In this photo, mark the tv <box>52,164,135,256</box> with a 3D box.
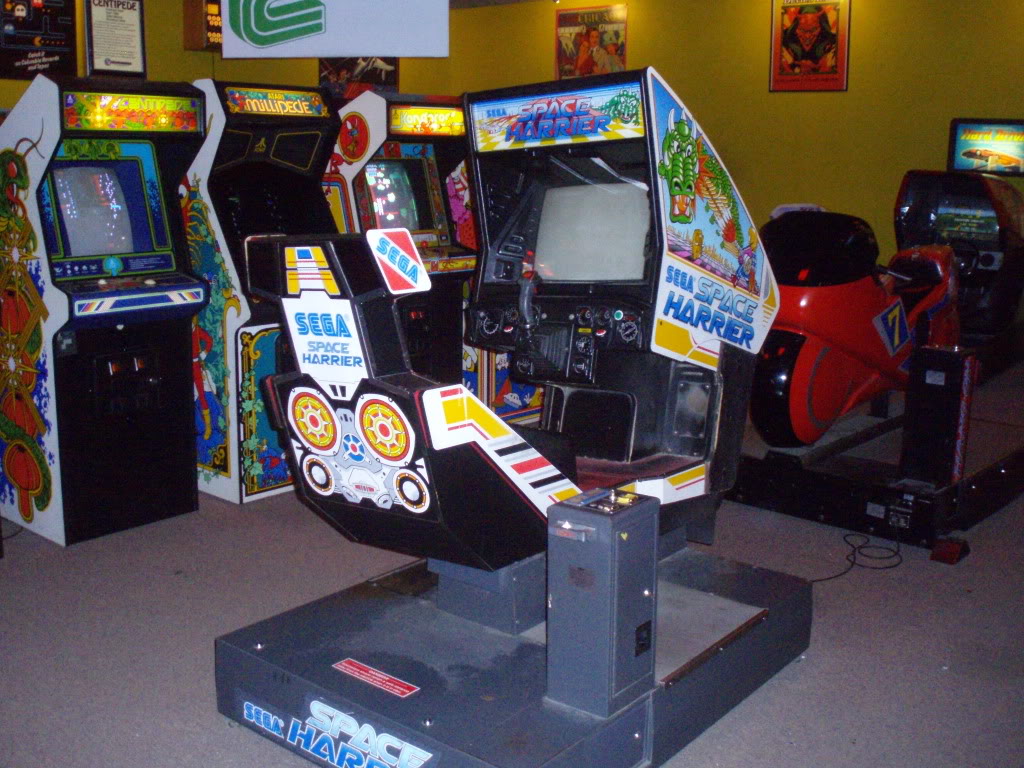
[{"bbox_3d":[-1.994,-0.820,3.997,0.057,0.514,0.399,-12,-1,45],"label":"tv"}]

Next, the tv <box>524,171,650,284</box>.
[{"bbox_3d":[0.312,-0.621,3.373,0.453,0.410,0.151,0,-7,29],"label":"tv"}]
